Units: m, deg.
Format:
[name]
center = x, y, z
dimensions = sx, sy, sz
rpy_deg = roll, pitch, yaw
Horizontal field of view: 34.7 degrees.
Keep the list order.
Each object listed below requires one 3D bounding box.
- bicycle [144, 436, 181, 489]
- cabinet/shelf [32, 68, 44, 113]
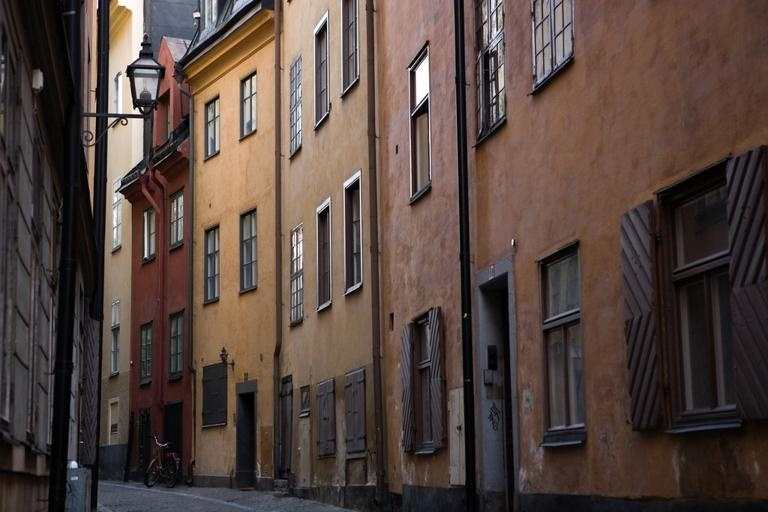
[bicycle]
center = -5.618, 5.377, 31.856
dimensions = 0.716, 1.107, 1.549
rpy_deg = 7, -9, -30
[cabinet/shelf]
center = -4.209, -2.093, 15.151
dimensions = 0.125, 0.405, 0.729
rpy_deg = 1, -23, -12
